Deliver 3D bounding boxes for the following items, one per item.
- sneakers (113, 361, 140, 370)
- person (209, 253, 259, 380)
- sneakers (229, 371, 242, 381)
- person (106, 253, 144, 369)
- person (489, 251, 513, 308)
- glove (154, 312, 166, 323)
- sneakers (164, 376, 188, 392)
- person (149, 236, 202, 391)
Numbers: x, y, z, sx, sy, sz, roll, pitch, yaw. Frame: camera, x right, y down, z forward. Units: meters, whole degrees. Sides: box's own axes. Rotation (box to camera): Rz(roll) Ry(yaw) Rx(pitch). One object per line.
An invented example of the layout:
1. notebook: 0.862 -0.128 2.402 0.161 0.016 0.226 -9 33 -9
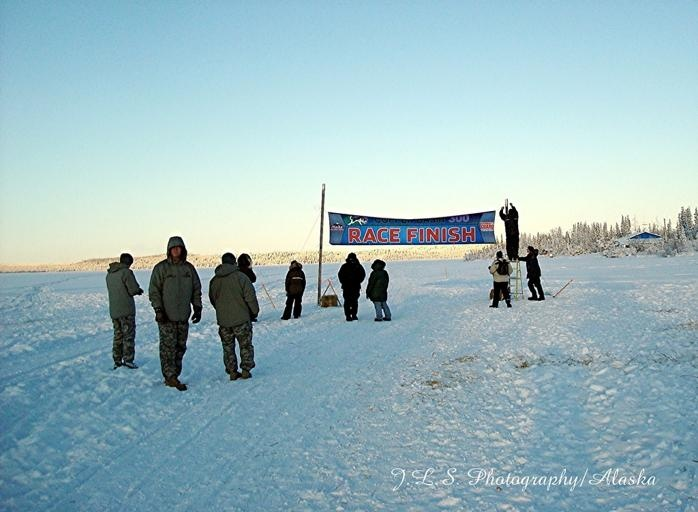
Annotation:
1. sneakers: -5.026 2.452 12.242 0.608 0.309 0.215 -1 -4 -1
2. person: -2.433 1.334 11.562 0.988 2.710 0.684 1 14 -1
3. sneakers: -2.448 2.577 11.571 0.155 0.167 0.212 0 -5 1
4. person: -5.135 1.250 12.422 0.707 2.732 1.399 -5 15 -23
5. person: 5.292 0.870 18.931 0.788 2.191 1.603 5 15 17
6. glove: -3.743 1.185 10.750 0.150 0.232 0.214 11 -28 -4
7. sneakers: -3.538 2.619 11.087 0.416 0.308 0.248 4 3 -11
8. person: -3.522 1.169 11.021 0.649 3.044 0.977 9 16 29
